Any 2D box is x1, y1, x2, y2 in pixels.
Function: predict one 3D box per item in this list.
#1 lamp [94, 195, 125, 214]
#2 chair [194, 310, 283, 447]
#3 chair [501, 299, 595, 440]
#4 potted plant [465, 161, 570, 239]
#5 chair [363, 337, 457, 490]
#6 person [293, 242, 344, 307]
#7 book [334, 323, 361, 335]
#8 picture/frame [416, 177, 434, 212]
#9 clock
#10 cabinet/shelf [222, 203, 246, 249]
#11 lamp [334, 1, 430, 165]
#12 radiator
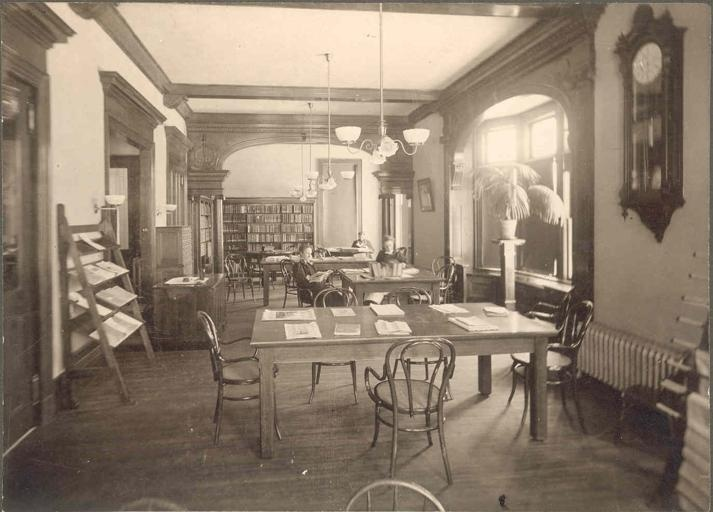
[{"bbox_3d":[-2.216,-0.463,5.243,0.200,0.133,0.159,0,3,4],"label":"lamp"},{"bbox_3d":[-0.945,0.959,4.897,0.720,1.015,0.656,1,7,6],"label":"chair"},{"bbox_3d":[1.697,0.920,5.151,0.713,1.062,0.698,1,9,32],"label":"chair"},{"bbox_3d":[1.701,-0.617,6.326,0.825,0.600,0.854,2,2,-3],"label":"potted plant"},{"bbox_3d":[0.401,1.096,4.540,0.679,1.149,0.712,3,10,13],"label":"chair"},{"bbox_3d":[-0.522,0.256,7.046,0.439,0.788,0.378,-1,7,39],"label":"person"},{"bbox_3d":[-0.072,0.582,4.632,0.210,0.060,0.273,-1,2,0],"label":"book"},{"bbox_3d":[0.710,-0.615,6.019,0.015,0.356,0.194,-16,12,-39],"label":"picture/frame"},{"bbox_3d":[2.521,-1.137,5.033,0.520,2.002,0.155,0,3,27],"label":"clock"},{"bbox_3d":[-2.571,-0.586,12.083,0.595,1.072,0.341,-3,13,-22],"label":"cabinet/shelf"},{"bbox_3d":[0.279,-1.545,5.791,0.872,1.332,1.469,-1,3,7],"label":"lamp"},{"bbox_3d":[2.418,0.909,5.049,0.588,0.362,0.120,23,20,40],"label":"radiator"}]
